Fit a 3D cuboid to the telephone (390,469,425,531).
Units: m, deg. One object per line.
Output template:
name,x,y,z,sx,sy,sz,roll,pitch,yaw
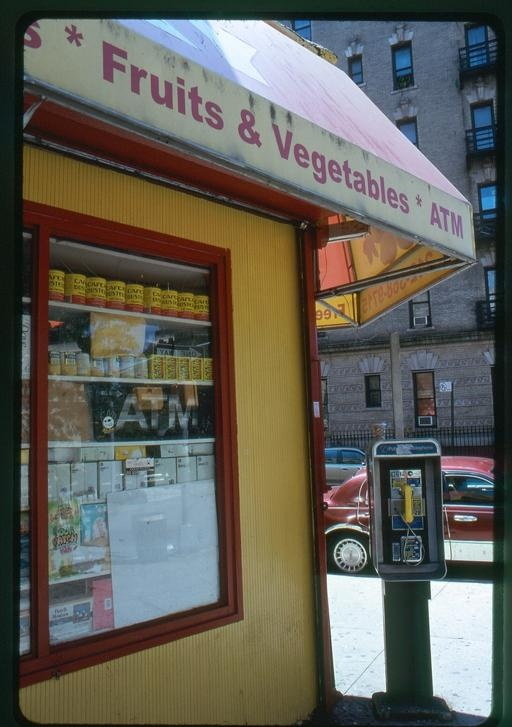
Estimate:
telephone,0.909,0.818,4.058,0.190,0.385,0.185,1,-3,-7
